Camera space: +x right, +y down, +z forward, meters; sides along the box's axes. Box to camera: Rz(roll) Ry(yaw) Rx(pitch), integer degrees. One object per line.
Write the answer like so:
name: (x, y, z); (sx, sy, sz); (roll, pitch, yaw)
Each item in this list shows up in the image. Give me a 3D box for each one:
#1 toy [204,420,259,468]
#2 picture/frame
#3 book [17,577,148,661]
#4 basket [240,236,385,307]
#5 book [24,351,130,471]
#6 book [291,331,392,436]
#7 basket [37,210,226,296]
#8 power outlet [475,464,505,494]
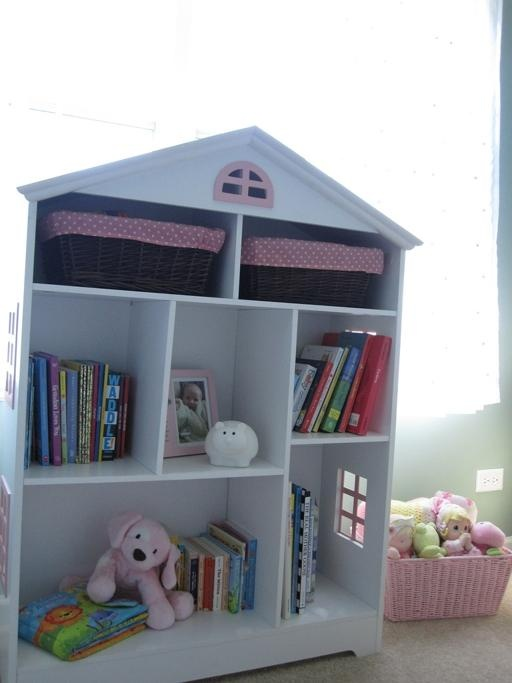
toy: (-0.057, 0.222, 1.248); (0.100, 0.083, 0.098); (1, -5, 4)
picture/frame: (-0.157, 0.174, 1.301); (0.199, 0.233, 0.015); (7, -15, -44)
book: (-0.366, 0.573, 1.153); (0.213, 0.059, 0.203); (2, -1, 36)
basket: (0.118, -0.130, 1.306); (0.247, 0.109, 0.183); (5, 0, -19)
book: (-0.357, 0.140, 1.135); (0.194, 0.264, 0.271); (2, 4, -21)
book: (0.197, 0.098, 1.472); (0.224, 0.293, 0.299); (9, 1, -11)
basket: (-0.260, -0.134, 1.126); (0.278, 0.111, 0.195); (5, 2, -32)
power outlet: (0.864, 0.509, 2.075); (0.121, 0.088, 0.018); (-2, 7, -23)
